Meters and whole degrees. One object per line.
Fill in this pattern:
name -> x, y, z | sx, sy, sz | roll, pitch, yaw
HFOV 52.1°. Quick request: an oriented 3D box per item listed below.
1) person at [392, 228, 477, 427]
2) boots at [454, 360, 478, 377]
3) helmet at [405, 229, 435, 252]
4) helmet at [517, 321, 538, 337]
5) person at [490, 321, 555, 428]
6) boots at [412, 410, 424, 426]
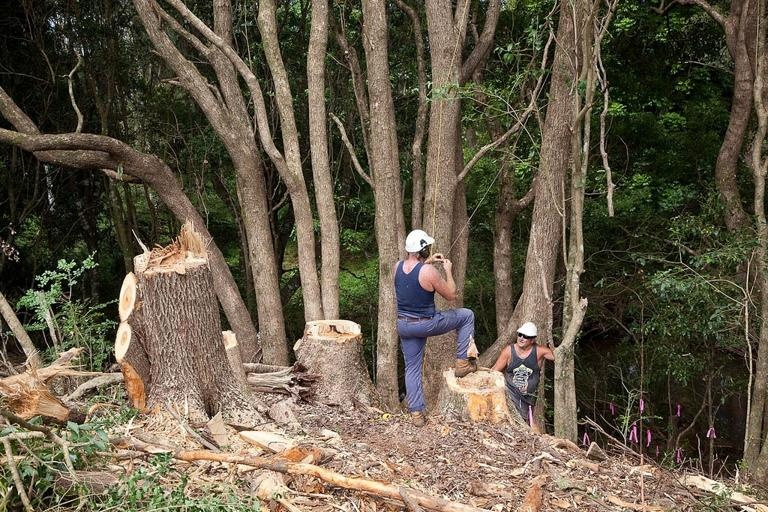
person -> 0.912, 1.229, 13.915 | 1.202, 3.535, 1.180 | -2, 15, 9
boots -> 1.378, 1.888, 13.127 | 0.446, 0.366, 0.170 | -2, 4, -31
helmet -> 0.591, -0.240, 13.361 | 0.426, 0.243, 0.318 | -29, 33, -14
helmet -> 2.635, 1.361, 14.343 | 0.258, 0.208, 0.361 | 17, 10, 18
person -> 2.545, 2.256, 14.314 | 1.137, 1.992, 0.804 | -11, 12, -27
boots -> 0.568, 2.755, 13.306 | 0.165, 0.203, 0.190 | -8, -1, 7
